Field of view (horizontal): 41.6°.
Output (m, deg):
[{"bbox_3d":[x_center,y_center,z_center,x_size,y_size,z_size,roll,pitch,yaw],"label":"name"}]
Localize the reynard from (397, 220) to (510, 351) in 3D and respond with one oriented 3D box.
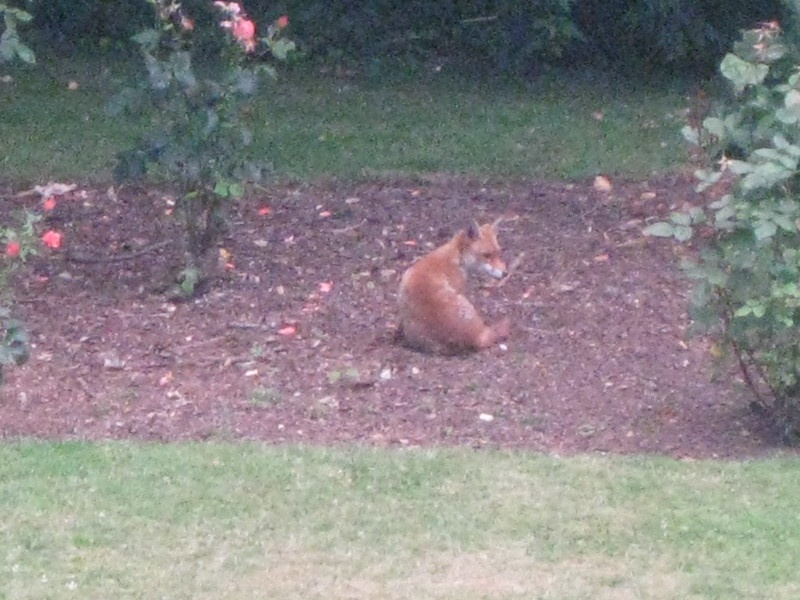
[{"bbox_3d":[0.460,-0.113,9.334,1.014,1.052,0.755,-7,53,-5],"label":"reynard"}]
